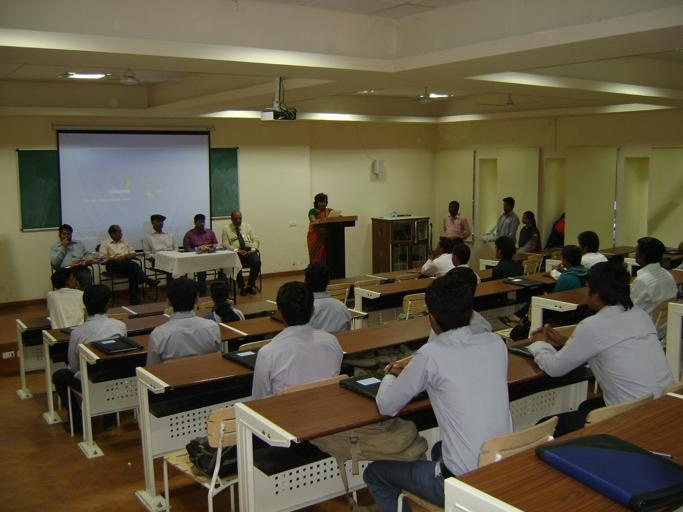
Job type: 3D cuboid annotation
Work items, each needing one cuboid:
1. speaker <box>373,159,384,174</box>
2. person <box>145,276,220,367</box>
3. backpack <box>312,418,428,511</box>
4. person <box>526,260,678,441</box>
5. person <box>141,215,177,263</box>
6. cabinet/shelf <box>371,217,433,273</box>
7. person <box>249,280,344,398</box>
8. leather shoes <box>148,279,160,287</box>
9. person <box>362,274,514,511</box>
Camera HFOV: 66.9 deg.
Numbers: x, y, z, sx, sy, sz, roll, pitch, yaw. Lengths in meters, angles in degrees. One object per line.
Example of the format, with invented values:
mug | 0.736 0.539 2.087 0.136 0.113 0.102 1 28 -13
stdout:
speaker | 0.879 -2.163 12.512 0.301 0.362 0.310 7 9 27
person | -1.326 0.681 4.290 0.598 0.955 0.495 -4 8 -43
backpack | 0.188 1.139 2.862 0.522 0.238 0.431 -4 -3 8
person | 1.510 0.579 3.084 0.550 1.064 0.848 -7 9 -33
person | -3.535 -0.363 10.055 0.720 0.924 0.521 -8 6 -36
cabinet/shelf | 1.529 -0.168 12.370 1.046 1.685 0.907 -9 20 -21
person | -0.319 0.621 3.389 0.493 0.962 0.534 17 24 35
leather shoes | -3.545 0.497 9.742 0.144 0.173 0.182 4 -18 -38
person | 0.466 0.740 2.562 0.712 1.288 0.448 0 8 18
